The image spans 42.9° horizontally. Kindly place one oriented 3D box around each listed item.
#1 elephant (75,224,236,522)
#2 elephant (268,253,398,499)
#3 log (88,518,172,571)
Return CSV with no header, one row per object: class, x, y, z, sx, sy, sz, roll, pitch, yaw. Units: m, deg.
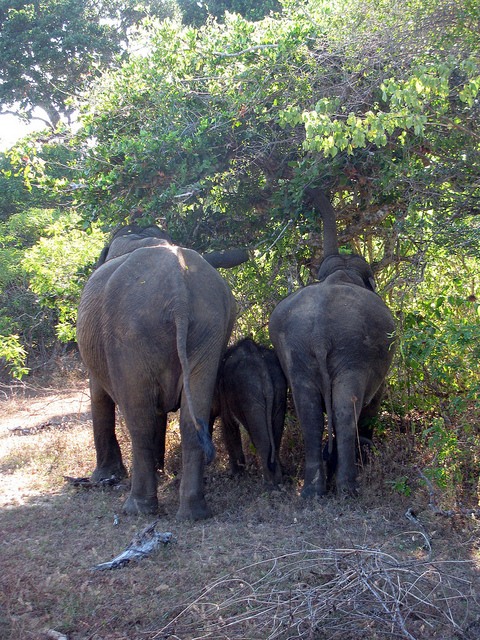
elephant,-0.597,0.362,4.383,1.105,1.963,1.679,-8,7,-17
elephant,0.769,0.414,4.691,0.936,1.574,1.506,-5,7,9
log,-0.572,1.193,3.238,0.158,0.127,0.495,0,8,39
